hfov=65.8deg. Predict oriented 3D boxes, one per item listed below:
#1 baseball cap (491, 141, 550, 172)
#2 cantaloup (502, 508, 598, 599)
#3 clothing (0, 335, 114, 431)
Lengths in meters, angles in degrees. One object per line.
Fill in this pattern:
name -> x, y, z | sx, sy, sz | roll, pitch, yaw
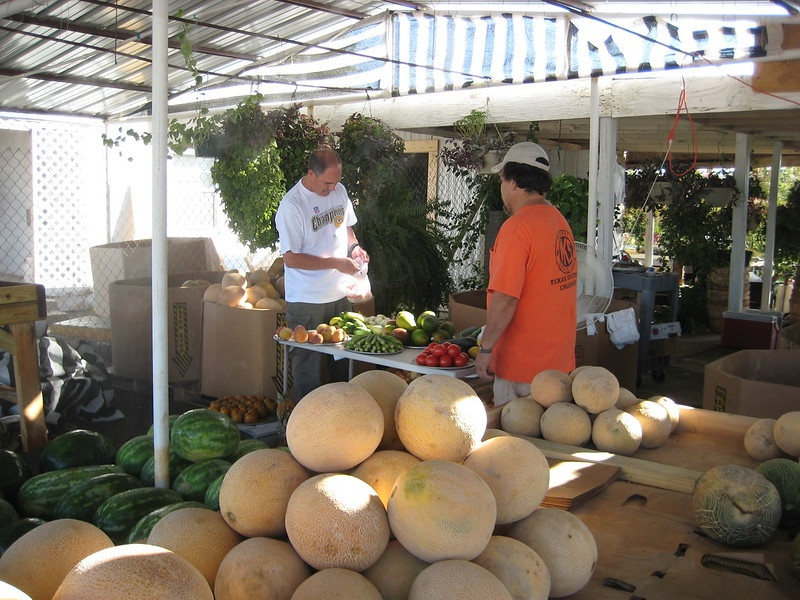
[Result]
baseball cap -> 0.693, -0.801, 3.444 | 0.245, 0.144, 0.183 | 10, 11, 8
cantaloup -> 0.445, 0.708, 1.840 | 0.230, 0.248, 0.225 | 9, -8, -23
clothing -> -3.174, 0.798, 5.843 | 0.819, 0.303, 0.837 | 9, 4, 41
